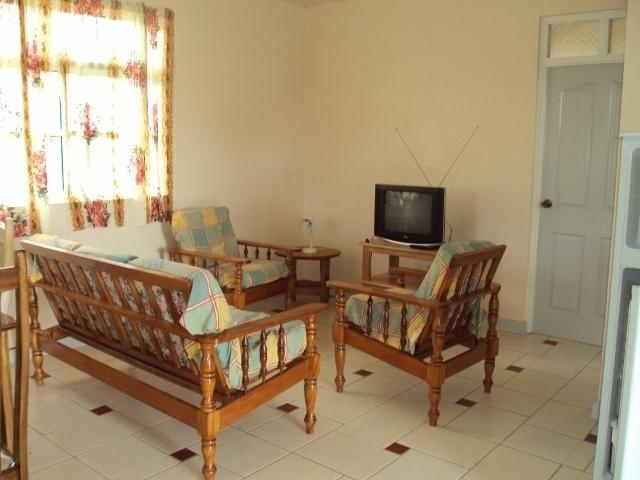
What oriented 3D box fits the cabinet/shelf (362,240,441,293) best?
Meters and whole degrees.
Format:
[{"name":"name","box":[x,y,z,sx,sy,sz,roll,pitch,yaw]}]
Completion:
[{"name":"cabinet/shelf","box":[0.728,0.298,5.005,0.355,0.459,0.755,7,2,29]}]

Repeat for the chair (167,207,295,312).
[{"name":"chair","box":[-0.852,0.131,4.830,1.071,1.214,0.964,7,10,38]}]

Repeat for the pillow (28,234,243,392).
[{"name":"pillow","box":[-0.968,0.397,2.701,1.155,0.665,0.285,8,14,30]}]

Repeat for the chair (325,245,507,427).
[{"name":"chair","box":[0.739,0.526,3.815,1.249,1.349,1.067,6,8,43]}]

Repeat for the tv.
[{"name":"tv","box":[0.946,-0.234,4.784,0.748,0.592,0.411,9,14,43]}]

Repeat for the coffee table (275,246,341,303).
[{"name":"coffee table","box":[-0.083,0.383,5.126,0.578,0.497,0.611,3,18,4]}]

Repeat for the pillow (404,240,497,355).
[{"name":"pillow","box":[0.838,0.344,3.207,0.315,0.732,0.582,13,17,43]}]
